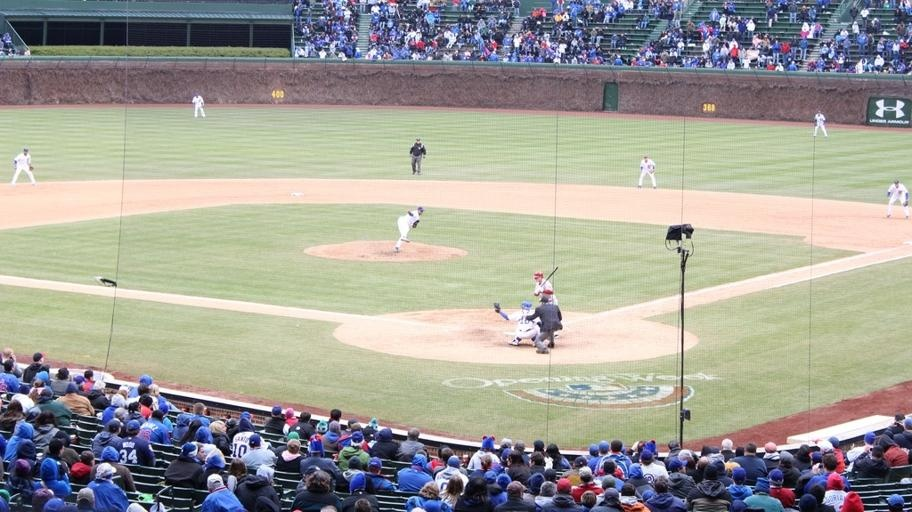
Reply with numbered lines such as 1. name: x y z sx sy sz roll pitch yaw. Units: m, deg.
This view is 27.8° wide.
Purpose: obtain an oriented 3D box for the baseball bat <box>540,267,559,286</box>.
1. baseball bat: 4.731 1.109 96.052 0.071 1.327 0.185 36 16 -40
